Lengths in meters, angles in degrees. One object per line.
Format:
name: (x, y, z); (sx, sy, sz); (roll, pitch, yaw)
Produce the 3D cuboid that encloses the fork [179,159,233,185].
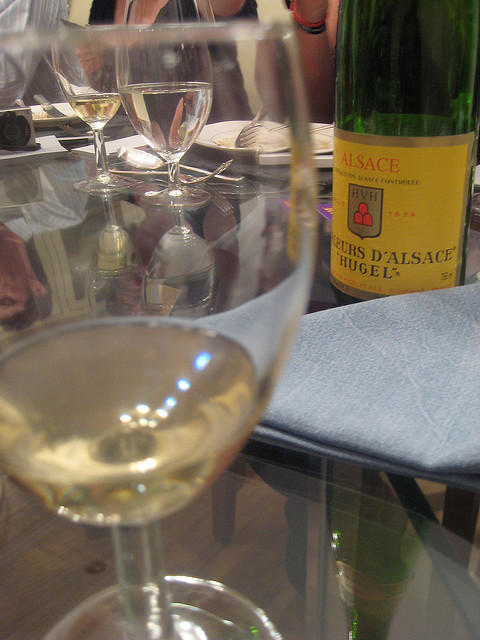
fork: (-0.033, -0.120, 0.417); (0.015, 0.017, 0.097); (-22, 20, -15)
